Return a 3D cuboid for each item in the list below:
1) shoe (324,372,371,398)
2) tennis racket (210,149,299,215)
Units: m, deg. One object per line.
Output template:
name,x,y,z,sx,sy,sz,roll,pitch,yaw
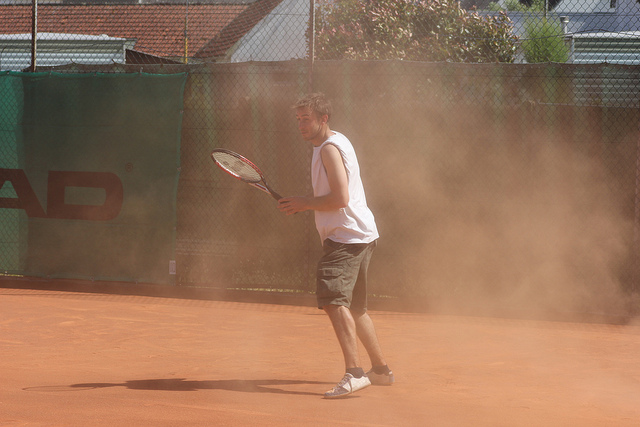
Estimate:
shoe,0.305,1.791,8.529,0.561,0.225,0.189,-15,-8,-16
tennis racket,-0.832,-0.496,9.045,1.328,0.108,0.385,30,-29,-2
